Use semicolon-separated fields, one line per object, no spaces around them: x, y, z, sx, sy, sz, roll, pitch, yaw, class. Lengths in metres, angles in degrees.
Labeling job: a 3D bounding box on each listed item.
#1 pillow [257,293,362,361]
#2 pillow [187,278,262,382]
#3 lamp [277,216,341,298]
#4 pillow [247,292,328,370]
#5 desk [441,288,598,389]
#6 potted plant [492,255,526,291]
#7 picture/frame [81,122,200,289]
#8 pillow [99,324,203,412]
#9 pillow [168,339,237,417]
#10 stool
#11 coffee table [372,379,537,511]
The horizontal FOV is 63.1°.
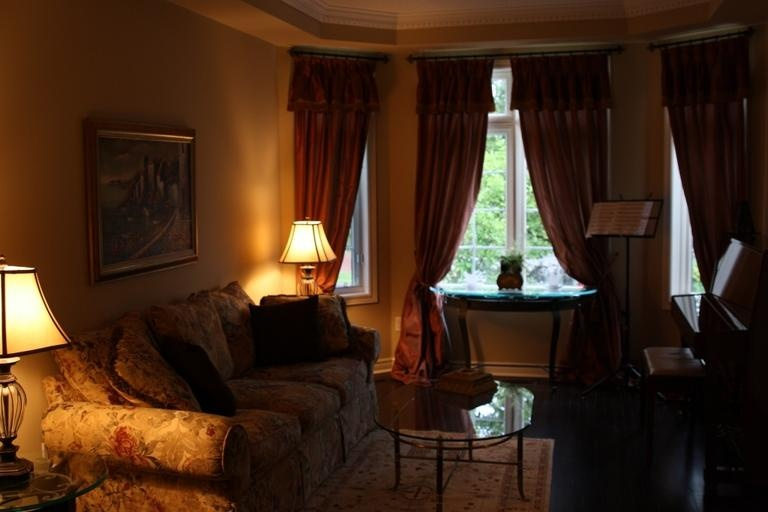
-0.536;0.571;5.433;0.560;0.596;0.258;-4;-12;-33;pillow
-1.241;0.570;5.104;0.235;0.636;0.588;-16;-3;21;pillow
-0.712;0.069;5.874;0.542;0.793;0.563;3;7;30;lamp
-0.837;0.643;5.217;0.564;0.607;0.220;-4;-17;-3;pillow
1.325;0.740;6.472;1.355;0.952;1.391;7;13;41;desk
1.199;0.182;6.148;0.355;0.464;0.296;0;-4;6;potted plant
-1.837;-0.388;4.629;0.092;1.324;1.267;0;2;25;picture/frame
-1.466;0.714;3.891;0.613;0.468;0.249;3;12;22;pillow
-1.172;0.742;4.025;0.130;0.447;0.439;-29;-1;2;pillow
2.247;1.158;4.877;0.453;0.770;0.856;1;4;14;stool
0.513;1.176;4.364;0.822;0.531;0.926;0;4;13;coffee table
